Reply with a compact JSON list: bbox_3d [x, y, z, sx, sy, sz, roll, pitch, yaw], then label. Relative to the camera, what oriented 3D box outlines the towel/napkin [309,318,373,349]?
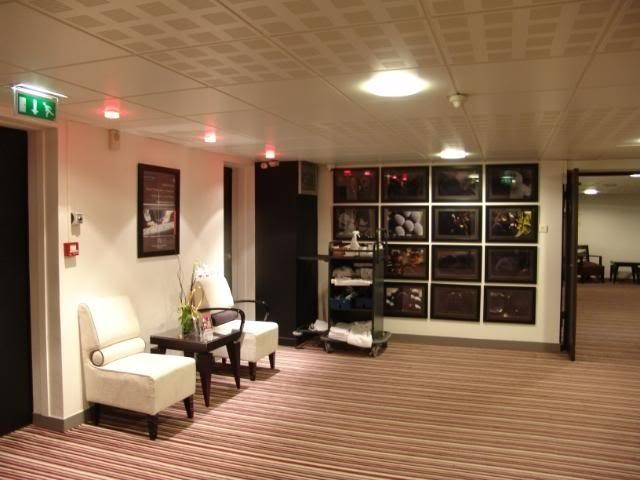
[{"bbox_3d":[0.424,1.332,6.589,0.681,0.260,0.477,1,4,10],"label":"towel/napkin"}]

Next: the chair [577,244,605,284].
[{"bbox_3d":[7.911,0.711,13.506,0.681,1.017,1.570,2,5,31],"label":"chair"}]

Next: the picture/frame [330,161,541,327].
[{"bbox_3d":[1.832,0.119,6.864,2.414,1.938,0.044,0,2,16],"label":"picture/frame"}]

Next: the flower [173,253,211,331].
[{"bbox_3d":[-1.424,0.717,5.166,0.301,0.663,0.291,-8,-27,17],"label":"flower"}]

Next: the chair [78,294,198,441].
[{"bbox_3d":[-1.760,1.163,4.438,0.942,1.173,0.580,2,5,26],"label":"chair"}]

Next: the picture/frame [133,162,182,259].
[{"bbox_3d":[-1.825,-0.322,5.232,0.115,1.037,0.615,1,4,19],"label":"picture/frame"}]

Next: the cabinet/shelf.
[{"bbox_3d":[0.361,0.888,6.837,1.503,1.695,0.860,0,-2,15],"label":"cabinet/shelf"}]

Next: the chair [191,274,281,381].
[{"bbox_3d":[-1.015,1.041,5.732,0.830,1.115,0.800,0,0,22],"label":"chair"}]

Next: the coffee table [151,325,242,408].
[{"bbox_3d":[-1.383,1.268,5.165,0.776,0.780,0.800,2,4,26],"label":"coffee table"}]
